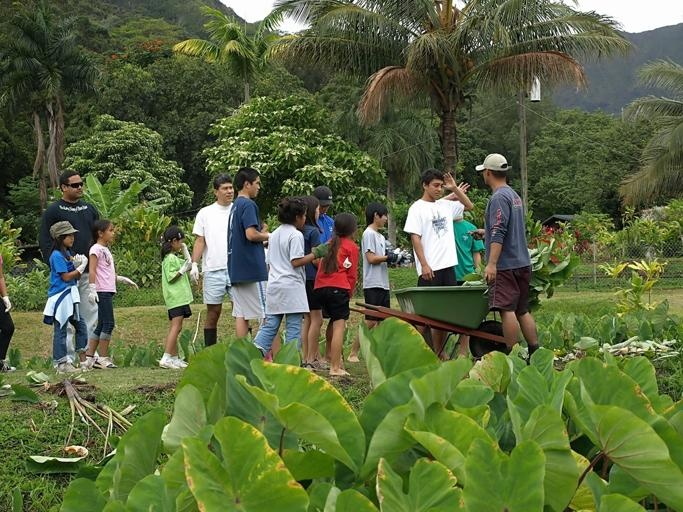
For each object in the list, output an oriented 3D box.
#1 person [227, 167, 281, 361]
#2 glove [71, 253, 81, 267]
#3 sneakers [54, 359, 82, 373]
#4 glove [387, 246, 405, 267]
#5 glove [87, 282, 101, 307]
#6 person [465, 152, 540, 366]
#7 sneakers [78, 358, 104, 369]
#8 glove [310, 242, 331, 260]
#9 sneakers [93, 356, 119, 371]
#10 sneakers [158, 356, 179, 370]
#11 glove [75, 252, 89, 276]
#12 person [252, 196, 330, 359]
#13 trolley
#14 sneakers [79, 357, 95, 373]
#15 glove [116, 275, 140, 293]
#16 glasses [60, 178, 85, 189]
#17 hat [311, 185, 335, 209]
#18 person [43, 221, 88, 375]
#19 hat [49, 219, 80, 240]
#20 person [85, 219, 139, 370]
[{"bbox_3d":[-0.832,0.116,5.545,0.514,1.834,0.491,-2,2,42],"label":"person"},{"bbox_3d":[-2.685,0.036,6.026,0.084,0.123,0.035,1,-10,-3],"label":"glove"},{"bbox_3d":[-2.610,1.039,5.642,0.262,0.130,0.094,0,2,4],"label":"sneakers"},{"bbox_3d":[0.575,-0.023,6.259,0.197,0.166,0.418,-1,-5,6],"label":"glove"},{"bbox_3d":[-2.562,0.378,6.129,0.112,0.215,0.225,2,-6,-25],"label":"glove"},{"bbox_3d":[1.483,-0.038,5.394,0.368,1.829,0.622,-5,-7,43],"label":"person"},{"bbox_3d":[-2.473,1.055,5.863,0.222,0.114,0.100,-2,10,-20],"label":"sneakers"},{"bbox_3d":[-0.184,-0.050,5.340,0.141,0.113,0.052,-27,-21,-21],"label":"glove"},{"bbox_3d":[-2.390,1.059,5.956,0.309,0.149,0.122,5,-2,1],"label":"sneakers"},{"bbox_3d":[-1.745,1.061,5.936,0.233,0.109,0.090,7,-1,-43],"label":"sneakers"},{"bbox_3d":[-2.668,0.086,6.089,0.144,0.203,0.058,3,-1,-19],"label":"glove"},{"bbox_3d":[-0.492,0.153,5.236,0.493,1.364,0.354,1,-5,-10],"label":"person"},{"bbox_3d":[0.790,0.563,5.579,1.394,0.724,0.751,-3,-3,-9],"label":"trolley"},{"bbox_3d":[-2.493,1.049,5.813,0.100,0.105,0.231,10,8,21],"label":"sneakers"},{"bbox_3d":[-4.113,0.535,11.371,0.392,0.328,1.284,-40,11,-18],"label":"glove"},{"bbox_3d":[-2.833,-0.759,6.228,0.203,0.123,0.243,3,-6,-31],"label":"glasses"},{"bbox_3d":[-0.207,-0.641,6.271,0.170,0.132,0.231,-14,41,-43],"label":"hat"},{"bbox_3d":[-2.736,0.354,5.932,0.400,1.486,0.790,2,-6,-25],"label":"person"},{"bbox_3d":[-2.841,-0.276,6.046,0.214,0.124,0.171,-7,6,-18],"label":"hat"},{"bbox_3d":[-2.578,0.365,6.392,0.303,1.555,1.270,2,-6,-23],"label":"person"}]
